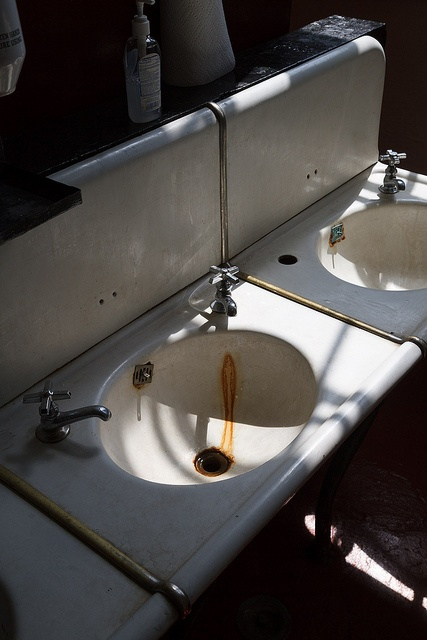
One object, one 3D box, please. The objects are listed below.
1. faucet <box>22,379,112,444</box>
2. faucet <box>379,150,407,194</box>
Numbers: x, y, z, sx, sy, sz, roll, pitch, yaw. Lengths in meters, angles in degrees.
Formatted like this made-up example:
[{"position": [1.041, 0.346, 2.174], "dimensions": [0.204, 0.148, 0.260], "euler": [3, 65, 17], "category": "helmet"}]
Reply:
[{"position": [-0.214, 0.142, 0.830], "dimensions": [0.122, 0.075, 0.073], "euler": [2, 32, 5], "category": "faucet"}, {"position": [0.511, -0.420, 1.593], "dimensions": [0.085, 0.107, 0.085], "euler": [3, 15, 10], "category": "faucet"}]
